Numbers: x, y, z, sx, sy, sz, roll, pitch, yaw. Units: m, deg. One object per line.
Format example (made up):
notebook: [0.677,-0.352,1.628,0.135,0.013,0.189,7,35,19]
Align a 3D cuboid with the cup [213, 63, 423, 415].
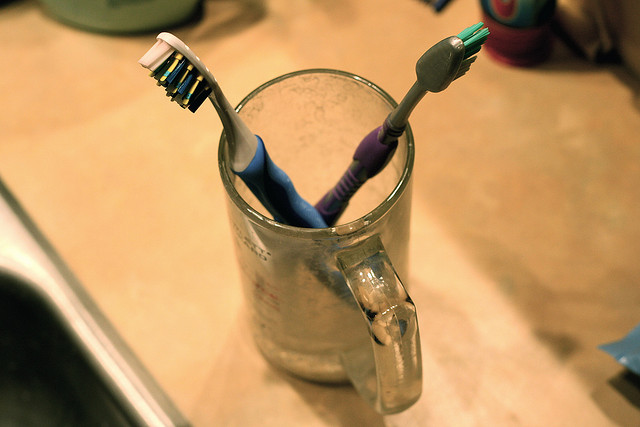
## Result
cup: [0.016,0.058,0.518,0.135,0.233,0.230,-14,53,-8]

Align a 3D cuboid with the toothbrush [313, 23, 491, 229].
toothbrush: [0.077,-0.067,0.553,0.046,0.280,0.026,-4,55,-47]

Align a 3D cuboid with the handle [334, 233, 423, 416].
handle: [0.044,0.101,0.490,0.054,0.174,0.077,-24,53,-11]
